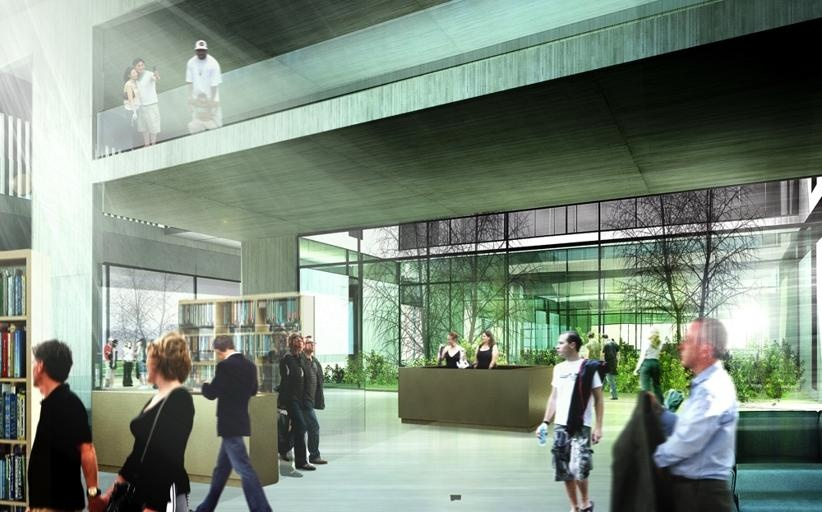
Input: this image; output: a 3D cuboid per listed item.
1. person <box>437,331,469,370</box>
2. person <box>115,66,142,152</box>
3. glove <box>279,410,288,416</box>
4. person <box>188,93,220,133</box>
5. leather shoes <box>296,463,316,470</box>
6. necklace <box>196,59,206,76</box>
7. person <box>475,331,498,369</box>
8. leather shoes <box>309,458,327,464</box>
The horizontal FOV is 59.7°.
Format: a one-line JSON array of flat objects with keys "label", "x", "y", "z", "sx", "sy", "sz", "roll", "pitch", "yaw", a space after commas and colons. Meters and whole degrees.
[{"label": "person", "x": 1.015, "y": 2.134, "z": 16.026, "sx": 0.555, "sy": 0.828, "sz": 0.946, "roll": -1, "pitch": -11, "yaw": 5}, {"label": "person", "x": -5.536, "y": -2.893, "z": 14.256, "sx": 0.354, "sy": 1.876, "sz": 0.812, "roll": 5, "pitch": -12, "yaw": -25}, {"label": "glove", "x": -2.184, "y": 2.697, "z": 12.248, "sx": 0.084, "sy": 0.049, "sz": 0.114, "roll": 6, "pitch": -5, "yaw": -43}, {"label": "person", "x": -3.926, "y": -2.704, "z": 13.699, "sx": 0.598, "sy": 0.877, "sz": 0.406, "roll": 3, "pitch": -11, "yaw": -17}, {"label": "leather shoes", "x": -1.836, "y": 3.678, "z": 12.484, "sx": 0.365, "sy": 0.140, "sz": 0.126, "roll": 0, "pitch": -8, "yaw": -2}, {"label": "necklace", "x": -4.057, "y": -3.633, "z": 13.910, "sx": 0.204, "sy": 0.237, "sz": 0.256, "roll": -3, "pitch": -23, "yaw": -10}, {"label": "person", "x": 1.638, "y": 2.096, "z": 15.807, "sx": 0.503, "sy": 0.832, "sz": 0.775, "roll": -3, "pitch": -11, "yaw": 14}, {"label": "leather shoes", "x": -1.664, "y": 3.688, "z": 12.875, "sx": 0.325, "sy": 0.120, "sz": 0.106, "roll": 2, "pitch": -7, "yaw": -8}]
